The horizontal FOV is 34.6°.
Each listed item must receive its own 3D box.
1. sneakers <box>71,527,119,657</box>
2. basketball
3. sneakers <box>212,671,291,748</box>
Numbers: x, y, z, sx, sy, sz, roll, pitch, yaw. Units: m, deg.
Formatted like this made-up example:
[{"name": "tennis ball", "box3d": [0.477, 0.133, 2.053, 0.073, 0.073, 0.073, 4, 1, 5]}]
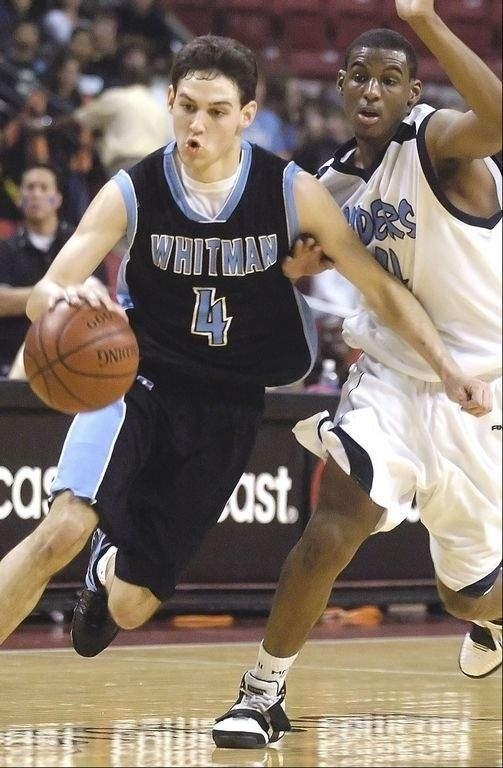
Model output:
[{"name": "sneakers", "box3d": [-0.418, 0.587, 2.219, 0.110, 0.135, 0.320, 1, 34, 9]}, {"name": "basketball", "box3d": [-0.334, -0.040, 1.606, 0.221, 0.229, 0.162, -6, 35, -14]}, {"name": "sneakers", "box3d": [0.003, 0.705, 1.723, 0.087, 0.096, 0.218, 1, -12, 13]}]
